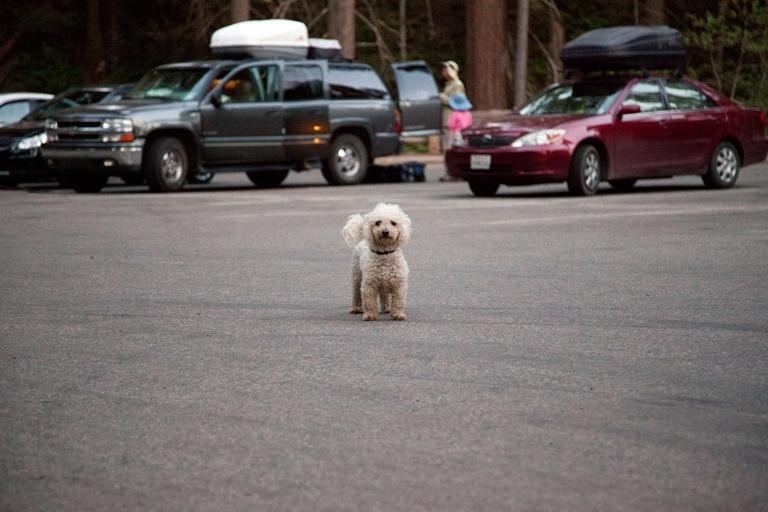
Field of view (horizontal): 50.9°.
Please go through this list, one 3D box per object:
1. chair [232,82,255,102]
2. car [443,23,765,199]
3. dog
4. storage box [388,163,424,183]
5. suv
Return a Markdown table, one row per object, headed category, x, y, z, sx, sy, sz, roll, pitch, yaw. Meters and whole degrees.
| category | x | y | z | sx | sy | sz | roll | pitch | yaw |
| --- | --- | --- | --- | --- | --- | --- | --- | --- | --- |
| chair | -3.093 | -3.570 | 17.691 | 0.421 | 0.471 | 0.450 | 0 | 2 | -8 |
| car | 4.415 | -3.082 | 16.878 | 6.624 | 3.375 | 3.045 | 0 | 0 | -34 |
| dog | -0.060 | 0.058 | 7.232 | 0.590 | 0.984 | 0.714 | -3 | 12 | -4 |
| storage box | 0.566 | -2.071 | 20.205 | 0.576 | 0.397 | 0.593 | -2 | 2 | -24 |
| suv | -3.783 | -3.281 | 19.043 | 7.723 | 4.121 | 3.297 | -1 | 1 | -38 |
